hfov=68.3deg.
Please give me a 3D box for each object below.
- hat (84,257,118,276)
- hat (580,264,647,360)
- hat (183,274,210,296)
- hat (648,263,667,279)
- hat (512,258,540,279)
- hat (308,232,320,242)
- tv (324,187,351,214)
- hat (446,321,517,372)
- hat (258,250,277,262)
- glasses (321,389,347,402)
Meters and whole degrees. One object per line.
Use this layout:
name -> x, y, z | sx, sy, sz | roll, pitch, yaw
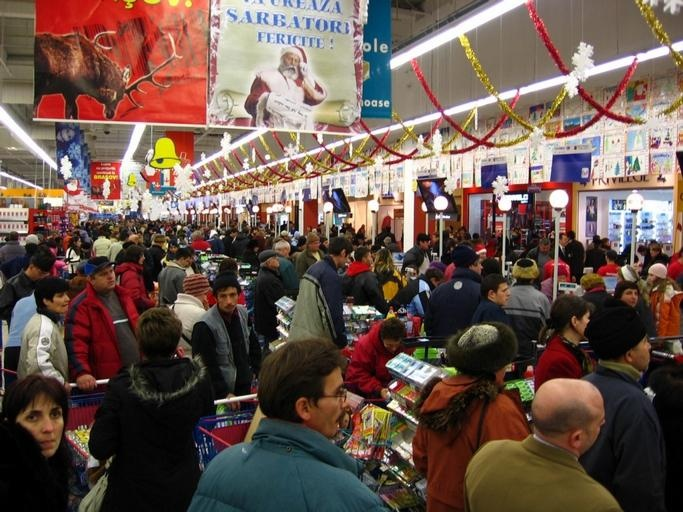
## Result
hat -> -2.104, 0.096, 4.280 | 0.242, 0.129, 0.181 | -22, -1, 3
hat -> 1.512, 0.302, 2.865 | 0.410, 0.373, 0.302 | -25, 14, -34
hat -> -1.464, 0.274, 5.049 | 0.225, 0.213, 0.172 | -8, 12, -35
hat -> 3.950, 0.193, 6.244 | 0.149, 0.203, 0.215 | -1, -12, -14
hat -> 1.938, 0.137, 5.309 | 0.204, 0.156, 0.226 | 0, 1, 4
hat -> -0.453, -0.324, 8.406 | 0.136, 0.138, 0.196 | 0, -6, -15
tv -> -0.090, -1.768, 17.415 | 0.294, 1.241, 1.129 | -18, 27, -22
hat -> 0.672, 0.439, 2.376 | 0.222, 0.163, 0.260 | -18, -4, 16
hat -> -0.963, -0.008, 6.531 | 0.184, 0.080, 0.134 | -24, 7, -29
glasses -> -0.018, 0.482, 1.754 | 0.057, 0.020, 0.059 | -3, -2, -7
